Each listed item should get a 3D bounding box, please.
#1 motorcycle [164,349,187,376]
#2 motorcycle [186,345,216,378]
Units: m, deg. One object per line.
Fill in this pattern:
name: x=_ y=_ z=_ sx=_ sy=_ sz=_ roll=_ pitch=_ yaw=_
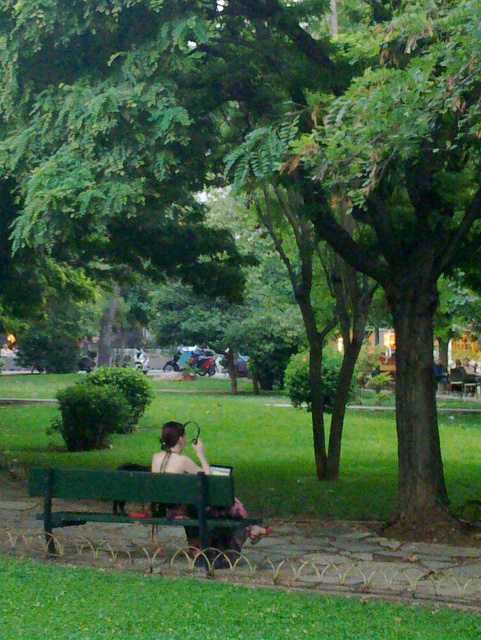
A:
motorcycle: x=-2.676 y=1.596 z=55.094 sx=0.724 sy=0.953 sz=1.370 roll=0 pitch=-5 yaw=5
motorcycle: x=-1.380 y=1.567 z=49.111 sx=0.613 sy=0.801 sz=1.147 roll=5 pitch=7 yaw=14
